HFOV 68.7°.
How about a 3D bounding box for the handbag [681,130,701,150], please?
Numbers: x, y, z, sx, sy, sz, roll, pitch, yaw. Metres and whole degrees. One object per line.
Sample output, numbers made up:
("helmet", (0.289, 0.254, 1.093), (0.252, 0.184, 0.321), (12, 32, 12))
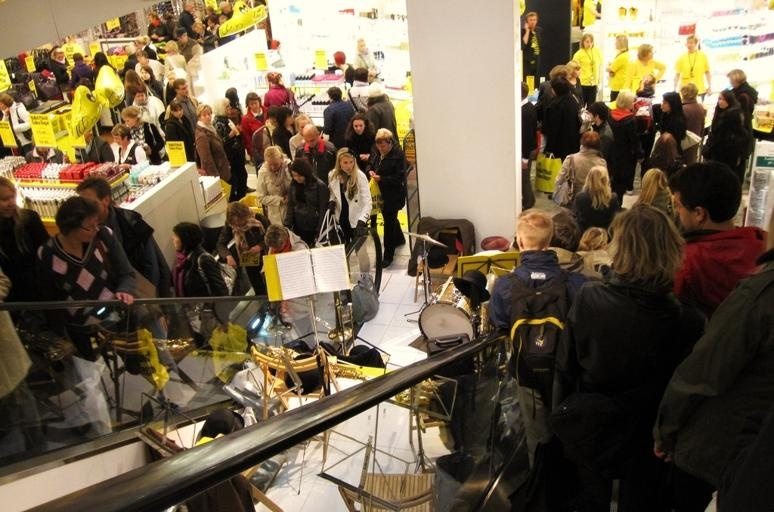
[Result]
("handbag", (4.707, -1.805, 8.857), (0.120, 0.297, 0.301), (-19, -12, 7))

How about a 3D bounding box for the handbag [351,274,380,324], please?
("handbag", (-0.299, 0.570, 7.192), (0.382, 0.536, 0.194), (-2, -3, -40))

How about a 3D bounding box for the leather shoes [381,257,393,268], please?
("leather shoes", (-0.011, 0.095, 8.284), (0.065, 0.130, 0.192), (4, 21, 29))

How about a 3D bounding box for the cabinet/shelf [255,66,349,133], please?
("cabinet/shelf", (-1.533, -3.250, 12.331), (1.201, 1.137, 0.643), (6, 21, 18))

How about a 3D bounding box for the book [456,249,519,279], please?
("book", (1.010, 0.080, 5.674), (0.390, 0.276, 0.029), (-3, 36, 1))

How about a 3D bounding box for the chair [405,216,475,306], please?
("chair", (0.729, -0.010, 7.875), (0.940, 0.981, 0.878), (1, 22, 0))

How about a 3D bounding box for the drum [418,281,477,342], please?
("drum", (0.656, 0.595, 6.195), (0.628, 0.631, 0.637), (-4, 20, 30))

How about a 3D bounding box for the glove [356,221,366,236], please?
("glove", (-0.350, -0.370, 7.456), (0.147, 0.138, 0.254), (2, 59, -2))

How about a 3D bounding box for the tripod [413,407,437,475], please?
("tripod", (0.197, 1.096, 3.331), (0.108, 0.382, 0.102), (-11, 15, -17))

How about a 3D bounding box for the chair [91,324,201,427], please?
("chair", (-2.194, 0.985, 5.268), (0.753, 1.030, 1.031), (-5, 1, 23))

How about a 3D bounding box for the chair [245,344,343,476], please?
("chair", (-0.793, 1.174, 5.167), (0.479, 0.575, 0.456), (-4, 11, 33))
